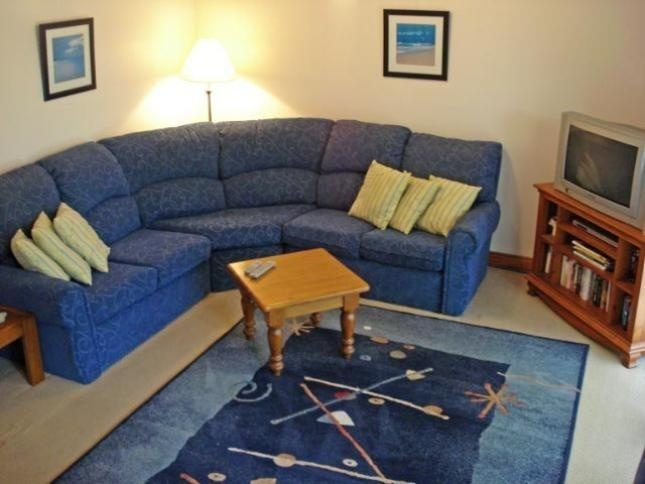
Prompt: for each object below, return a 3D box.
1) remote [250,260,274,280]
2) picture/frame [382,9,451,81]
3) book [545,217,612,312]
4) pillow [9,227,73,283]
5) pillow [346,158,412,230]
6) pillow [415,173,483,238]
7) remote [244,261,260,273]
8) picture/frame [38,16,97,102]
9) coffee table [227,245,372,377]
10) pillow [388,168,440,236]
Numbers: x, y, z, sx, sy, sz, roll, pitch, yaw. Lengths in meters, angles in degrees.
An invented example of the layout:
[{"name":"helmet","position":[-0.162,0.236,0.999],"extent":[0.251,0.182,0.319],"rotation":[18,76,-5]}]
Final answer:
[{"name":"remote","position":[-0.424,0.193,3.646],"extent":[0.085,0.027,0.157],"rotation":[8,21,22]},{"name":"picture/frame","position":[0.839,-1.743,4.633],"extent":[0.590,0.597,0.040],"rotation":[7,15,23]},{"name":"book","position":[1.928,0.179,3.951],"extent":[0.182,0.501,0.556],"rotation":[-13,29,-25]},{"name":"pillow","position":[-1.854,0.106,3.421],"extent":[0.349,0.117,0.327],"rotation":[38,-5,-22]},{"name":"pillow","position":[0.468,-0.367,4.346],"extent":[0.146,0.518,0.524],"rotation":[21,5,-38]},{"name":"pillow","position":[0.982,-0.279,4.175],"extent":[0.448,0.457,0.135],"rotation":[23,-4,41]},{"name":"remote","position":[-0.492,0.177,3.673],"extent":[0.056,0.017,0.102],"rotation":[6,20,20]},{"name":"picture/frame","position":[-2.003,-1.427,4.104],"extent":[0.043,0.655,0.642],"rotation":[16,25,30]},{"name":"coffee table","position":[-0.174,0.476,3.747],"extent":[0.983,0.557,0.956],"rotation":[17,25,39]},{"name":"pillow","position":[0.713,-0.302,4.242],"extent":[0.120,0.412,0.430],"rotation":[24,5,-37]}]
